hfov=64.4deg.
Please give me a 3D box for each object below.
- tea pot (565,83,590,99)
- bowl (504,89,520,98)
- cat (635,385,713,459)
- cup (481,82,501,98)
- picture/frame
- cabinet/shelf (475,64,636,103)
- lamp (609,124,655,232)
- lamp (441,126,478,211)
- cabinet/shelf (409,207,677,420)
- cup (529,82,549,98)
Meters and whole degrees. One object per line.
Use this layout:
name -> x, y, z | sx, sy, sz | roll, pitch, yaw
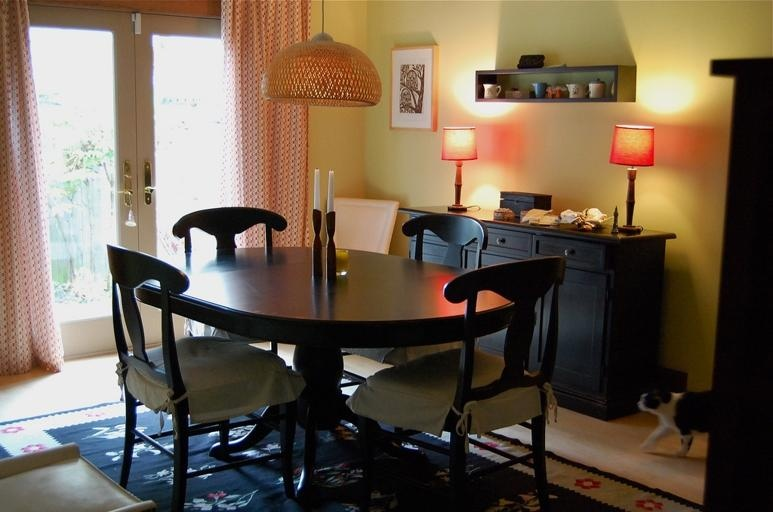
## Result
tea pot -> 1.226, -1.057, 3.958 | 0.134, 0.092, 0.098 | -3, 10, -10
bowl -> 0.875, -1.129, 4.290 | 0.113, 0.075, 0.060 | 8, 13, 41
cat -> 1.539, 0.872, 3.277 | 0.325, 0.352, 0.296 | 7, 14, 32
cup -> 0.749, -1.177, 4.387 | 0.138, 0.096, 0.087 | -1, 1, -35
picture/frame -> 0.227, -1.381, 5.087 | 0.058, 0.672, 0.498 | -12, 17, -43
cabinet/shelf -> 1.098, -1.148, 4.138 | 0.323, 0.256, 1.098 | -9, 15, -37
lamp -> 1.476, -0.474, 3.699 | 0.241, 0.617, 0.414 | 5, 13, 23
lamp -> 0.534, -0.647, 4.537 | 0.240, 0.604, 0.311 | 1, 12, 8
cabinet/shelf -> 0.878, 0.320, 3.150 | 0.424, 0.722, 1.200 | -6, 10, -42
cup -> 1.031, -1.115, 4.130 | 0.086, 0.117, 0.136 | 0, 0, 38
